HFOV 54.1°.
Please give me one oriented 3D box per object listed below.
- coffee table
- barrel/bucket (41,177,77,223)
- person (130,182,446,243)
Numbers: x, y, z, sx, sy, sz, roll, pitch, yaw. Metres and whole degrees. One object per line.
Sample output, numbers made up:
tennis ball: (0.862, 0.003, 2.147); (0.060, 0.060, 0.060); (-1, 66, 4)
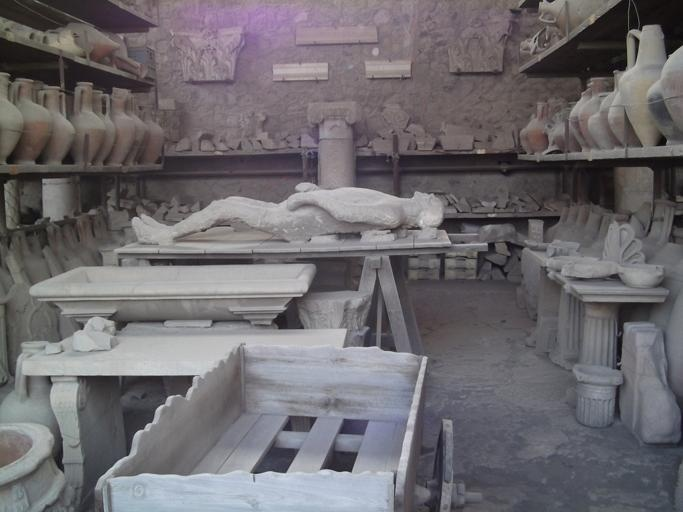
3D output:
coffee table: (1.807, 0.454, 4.858); (0.654, 0.840, 1.059); (2, 14, 4)
barrel/bucket: (-3.047, -0.618, 7.125); (0.368, 0.428, 0.276); (-1, 14, -8)
person: (-0.402, -0.373, 5.688); (2.073, 0.508, 0.658); (-5, 6, 0)
